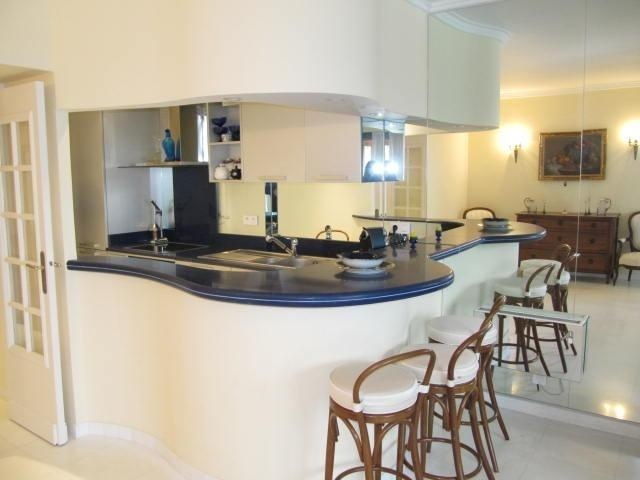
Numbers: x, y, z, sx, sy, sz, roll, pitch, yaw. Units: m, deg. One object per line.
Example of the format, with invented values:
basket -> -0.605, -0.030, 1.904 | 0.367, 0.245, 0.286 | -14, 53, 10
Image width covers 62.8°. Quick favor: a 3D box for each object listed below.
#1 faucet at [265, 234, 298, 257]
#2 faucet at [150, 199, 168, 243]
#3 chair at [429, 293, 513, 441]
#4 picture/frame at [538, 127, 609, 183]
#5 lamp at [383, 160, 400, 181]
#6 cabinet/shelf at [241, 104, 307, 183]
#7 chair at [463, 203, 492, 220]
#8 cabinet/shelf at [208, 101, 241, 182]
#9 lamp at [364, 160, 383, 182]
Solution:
faucet -> -0.382, 0.038, 5.341 | 0.411, 0.196, 0.078 | 5, 10, 38
faucet -> -1.858, -0.214, 6.046 | 0.167, 0.508, 0.293 | -3, 8, -18
chair -> 1.095, 0.860, 3.591 | 0.245, 0.527, 0.274 | -25, -16, 37
picture/frame -> 1.934, -0.651, 3.928 | 0.429, 0.366, 0.034 | 4, 6, 37
lamp -> 0.664, -0.628, 4.758 | 0.177, 0.167, 0.042 | 4, 7, -5
cabinet/shelf -> -0.371, -0.951, 5.080 | 0.722, 0.701, 0.347 | 6, 15, 22
chair -> 1.327, -0.248, 4.361 | 0.130, 0.166, 0.124 | 1, 12, 25
cabinet/shelf -> -0.920, -1.005, 5.299 | 0.482, 0.788, 0.220 | 5, 10, 38
lamp -> 0.479, -0.622, 4.648 | 0.041, 0.188, 0.239 | 6, 10, 41
